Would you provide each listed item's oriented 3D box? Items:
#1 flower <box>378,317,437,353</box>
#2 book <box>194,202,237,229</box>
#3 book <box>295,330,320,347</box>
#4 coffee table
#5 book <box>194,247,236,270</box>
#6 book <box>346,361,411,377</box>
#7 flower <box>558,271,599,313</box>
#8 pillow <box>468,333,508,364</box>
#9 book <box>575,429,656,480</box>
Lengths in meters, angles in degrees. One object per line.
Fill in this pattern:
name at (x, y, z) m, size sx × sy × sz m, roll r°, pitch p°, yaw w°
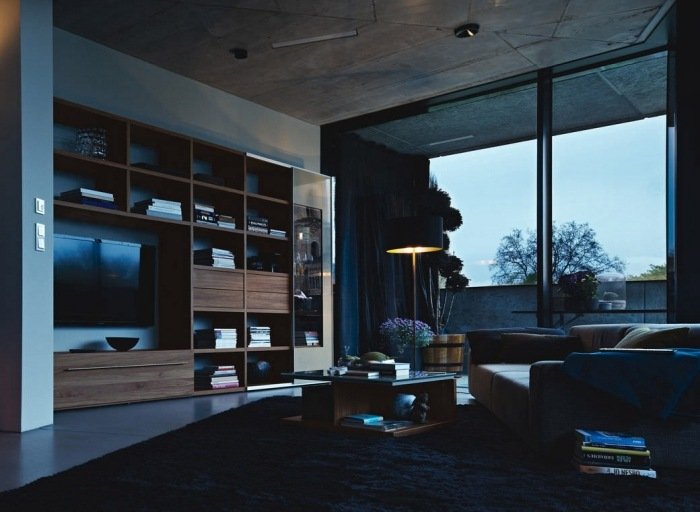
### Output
flower at (0.703, 0.924, 6.385) m, size 0.577 × 0.409 × 0.649 m, roll -3°, pitch -7°, yaw 29°
book at (-1.421, -0.394, 5.538) m, size 0.273 × 0.155 × 0.374 m, roll -5°, pitch -7°, yaw 38°
book at (-0.509, 0.974, 6.358) m, size 0.216 × 0.131 × 0.313 m, roll -1°, pitch -3°, yaw 37°
coffee table at (0.125, 0.978, 3.603) m, size 0.690 × 0.214 × 0.589 m, roll -4°, pitch -5°, yaw 38°
book at (-1.388, 0.030, 5.549) m, size 0.284 × 0.110 × 0.285 m, roll -3°, pitch -5°, yaw 37°
book at (0.187, 0.729, 3.517) m, size 0.412 × 0.089 × 0.277 m, roll -1°, pitch -4°, yaw 6°
flower at (2.354, 0.381, 5.699) m, size 0.428 × 0.452 × 0.473 m, roll -1°, pitch -6°, yaw 12°
pillow at (1.165, 0.780, 4.579) m, size 0.293 × 0.255 × 0.113 m, roll 1°, pitch -4°, yaw 19°
book at (1.298, 0.968, 2.670) m, size 0.276 × 0.106 × 0.244 m, roll 0°, pitch -8°, yaw 7°
